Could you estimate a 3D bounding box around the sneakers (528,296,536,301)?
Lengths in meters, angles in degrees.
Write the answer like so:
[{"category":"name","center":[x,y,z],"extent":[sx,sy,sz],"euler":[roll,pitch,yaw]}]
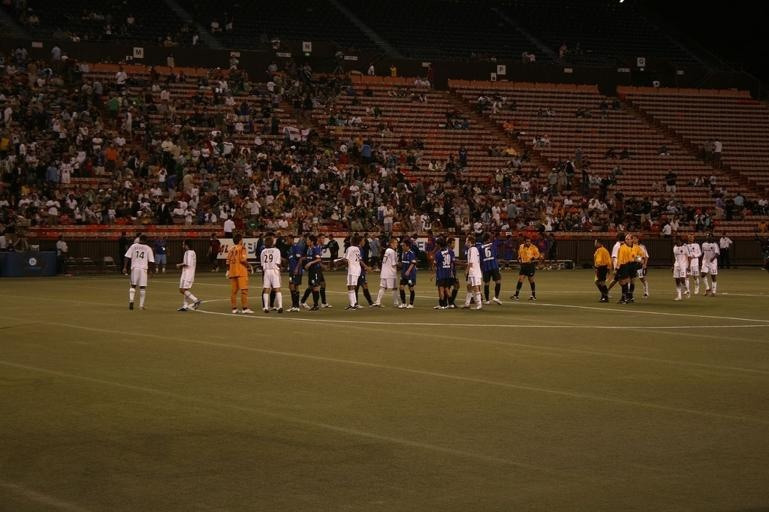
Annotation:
[{"category":"sneakers","center":[5.132,1.473,28.876],"extent":[0.277,0.193,0.097],"euler":[0,1,27]}]
